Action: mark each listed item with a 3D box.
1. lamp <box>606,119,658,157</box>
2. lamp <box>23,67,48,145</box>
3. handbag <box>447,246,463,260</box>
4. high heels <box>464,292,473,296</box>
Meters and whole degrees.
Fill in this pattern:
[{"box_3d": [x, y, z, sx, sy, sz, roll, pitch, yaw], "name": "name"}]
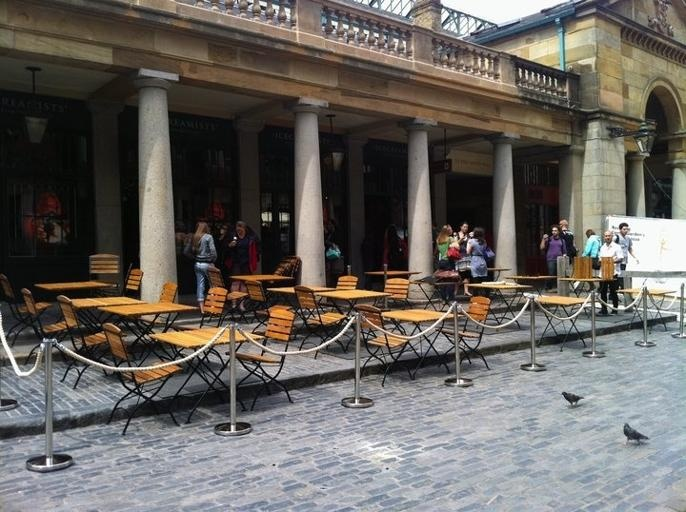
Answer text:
[{"box_3d": [9.672, -3.977, 21.123, 1.549, 0.872, 1.439, 5, 16, 24], "name": "lamp"}, {"box_3d": [-6.881, -3.382, 13.927, 0.515, 1.627, 0.547, 0, 6, -22], "name": "lamp"}, {"box_3d": [2.846, -0.082, 15.931, 0.324, 0.298, 0.168, 3, 27, 1], "name": "handbag"}, {"box_3d": [3.523, 1.072, 17.495, 0.326, 0.120, 0.109, 0, 3, -22], "name": "high heels"}]
